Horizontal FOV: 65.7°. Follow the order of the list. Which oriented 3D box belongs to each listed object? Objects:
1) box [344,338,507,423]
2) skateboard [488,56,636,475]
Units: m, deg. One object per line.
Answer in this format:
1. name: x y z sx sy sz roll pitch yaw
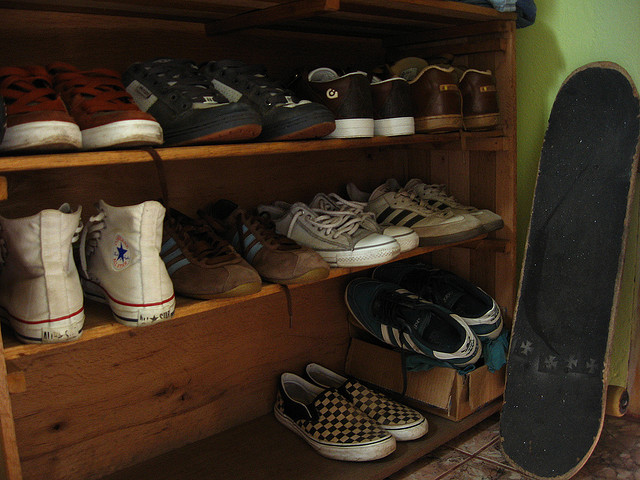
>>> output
1. box: 0.358 0.506 1.778 0.349 0.097 0.353 8 9 37
2. skateboard: 0.890 0.099 1.689 0.431 1.307 0.223 16 0 30
